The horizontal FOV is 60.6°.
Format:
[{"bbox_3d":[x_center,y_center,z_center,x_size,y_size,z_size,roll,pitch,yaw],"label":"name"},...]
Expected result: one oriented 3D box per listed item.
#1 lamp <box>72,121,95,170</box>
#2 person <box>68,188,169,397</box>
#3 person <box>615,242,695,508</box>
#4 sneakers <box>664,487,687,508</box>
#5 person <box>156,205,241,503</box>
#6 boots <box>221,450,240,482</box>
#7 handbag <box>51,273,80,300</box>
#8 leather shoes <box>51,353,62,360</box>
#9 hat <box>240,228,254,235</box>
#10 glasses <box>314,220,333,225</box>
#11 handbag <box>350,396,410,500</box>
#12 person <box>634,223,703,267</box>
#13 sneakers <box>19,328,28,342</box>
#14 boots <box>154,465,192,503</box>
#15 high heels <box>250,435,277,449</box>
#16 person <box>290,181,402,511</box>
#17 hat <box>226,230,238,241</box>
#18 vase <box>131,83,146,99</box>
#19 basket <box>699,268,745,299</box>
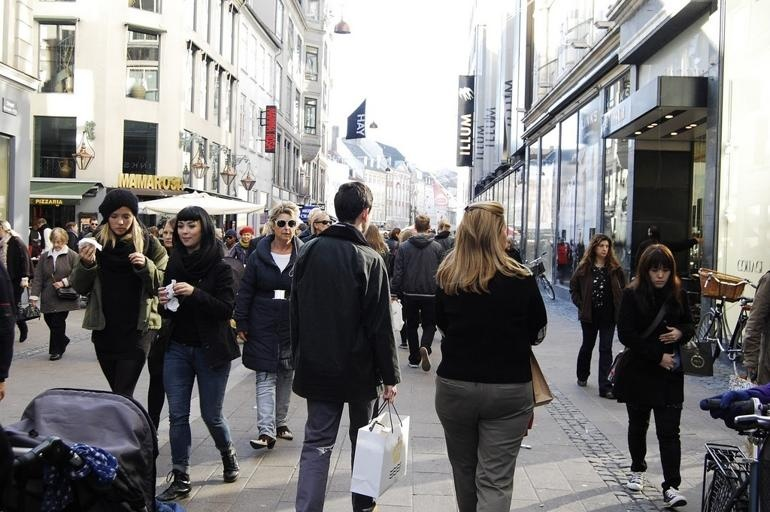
[{"bbox_3d":[-11.938,-4.376,26.100,0.714,2.000,0.570,1,2,-9],"label":"lamp"},{"bbox_3d":[-2.434,0.535,5.982,0.827,2.247,0.936,-6,-7,42],"label":"person"},{"bbox_3d":[2.417,1.029,5.925,0.638,2.260,0.606,2,2,25],"label":"person"},{"bbox_3d":[2.499,2.084,5.686,0.100,0.119,0.263,-1,-1,2],"label":"sneakers"},{"bbox_3d":[-1.650,0.811,5.880,0.708,2.509,0.614,1,2,-18],"label":"person"},{"bbox_3d":[-1.397,1.904,5.997,0.110,0.146,0.337,-7,16,-3],"label":"boots"},{"bbox_3d":[-4.816,0.485,9.853,0.411,0.424,0.165,-4,-40,-18],"label":"handbag"},{"bbox_3d":[-5.324,1.634,10.636,0.175,0.081,0.222,0,2,-31],"label":"leather shoes"},{"bbox_3d":[-2.749,-0.498,13.058,0.199,0.088,0.211,-2,2,1],"label":"hat"},{"bbox_3d":[-0.873,-0.457,9.079,0.226,0.071,0.229,-2,-2,21],"label":"glasses"},{"bbox_3d":[-0.048,1.458,4.987,0.319,0.624,0.451,2,2,23],"label":"handbag"},{"bbox_3d":[5.670,-0.298,13.120,1.019,1.094,0.307,-2,31,40],"label":"person"},{"bbox_3d":[-6.757,1.473,12.259,0.112,0.221,0.351,0,2,-29],"label":"sneakers"},{"bbox_3d":[-1.870,1.975,5.630,0.140,0.270,0.372,-4,-9,26],"label":"boots"},{"bbox_3d":[-1.233,1.897,6.668,0.298,0.140,0.112,5,0,-4],"label":"high heels"},{"bbox_3d":[-0.325,0.673,5.205,0.814,2.529,0.409,1,2,-15],"label":"person"},{"bbox_3d":[-3.801,-0.499,16.336,0.229,0.249,0.315,9,1,-5],"label":"hat"},{"bbox_3d":[-10.258,-6.839,27.323,0.563,0.479,0.567,-3,6,-16],"label":"vase"},{"bbox_3d":[5.131,0.464,10.069,0.549,0.308,0.469,16,4,8],"label":"basket"}]
